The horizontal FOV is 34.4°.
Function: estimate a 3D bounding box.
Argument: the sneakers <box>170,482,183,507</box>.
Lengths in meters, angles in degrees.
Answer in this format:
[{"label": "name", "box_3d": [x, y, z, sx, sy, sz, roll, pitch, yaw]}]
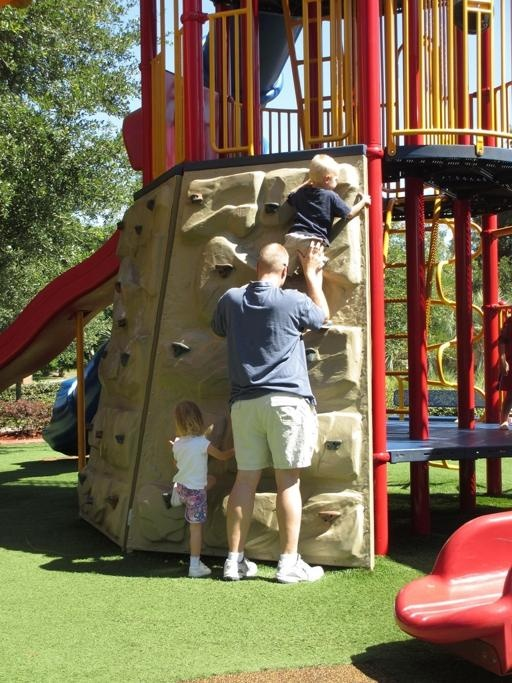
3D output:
[{"label": "sneakers", "box_3d": [-0.427, 0.840, 4.481, 0.045, 0.134, 0.097, -6, 24, -9]}]

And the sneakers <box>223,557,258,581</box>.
[{"label": "sneakers", "box_3d": [-0.069, 1.134, 4.160, 0.077, 0.098, 0.207, 0, 0, 29]}]

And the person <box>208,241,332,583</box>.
[{"label": "person", "box_3d": [0.081, 0.341, 4.230, 0.590, 1.703, 0.403, 0, 0, -2]}]

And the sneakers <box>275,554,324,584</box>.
[{"label": "sneakers", "box_3d": [0.208, 1.137, 4.128, 0.266, 0.125, 0.097, 1, -4, -30]}]

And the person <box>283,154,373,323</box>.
[{"label": "person", "box_3d": [0.348, -0.581, 4.572, 0.390, 0.830, 0.318, 10, 12, 26]}]

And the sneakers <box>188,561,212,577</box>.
[{"label": "sneakers", "box_3d": [-0.286, 1.157, 4.219, 0.113, 0.072, 0.056, -1, 0, -43]}]
